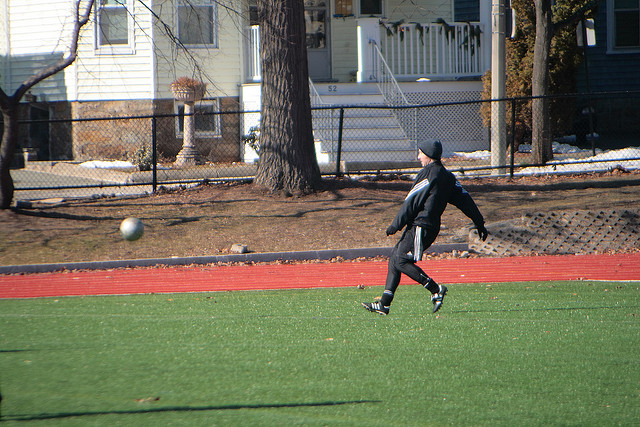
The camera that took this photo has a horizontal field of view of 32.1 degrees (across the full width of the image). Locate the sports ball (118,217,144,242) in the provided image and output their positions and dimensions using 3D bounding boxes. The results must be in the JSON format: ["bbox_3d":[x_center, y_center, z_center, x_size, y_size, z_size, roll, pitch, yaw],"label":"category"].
[{"bbox_3d":[-4.288,0.343,25.187,0.497,0.514,0.500,2,1,0],"label":"sports ball"}]

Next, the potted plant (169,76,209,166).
[{"bbox_3d":[-4.287,-2.924,35.878,1.250,2.585,1.435,7,12,39],"label":"potted plant"}]
